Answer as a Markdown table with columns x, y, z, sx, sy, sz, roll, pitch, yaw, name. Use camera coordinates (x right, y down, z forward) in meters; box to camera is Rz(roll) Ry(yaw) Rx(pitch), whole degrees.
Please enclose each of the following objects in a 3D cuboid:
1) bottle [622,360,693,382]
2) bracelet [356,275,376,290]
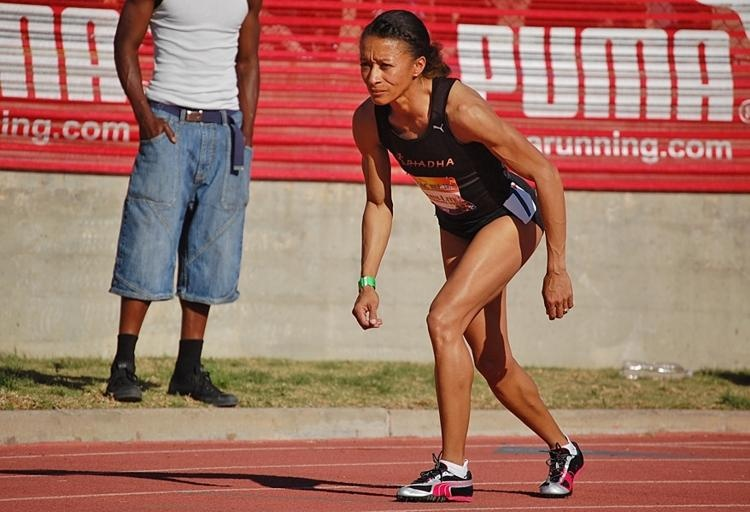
| x | y | z | sx | sy | sz | roll | pitch | yaw | name |
| --- | --- | --- | --- | --- | --- | --- | --- | --- | --- |
| 2.889 | 1.191 | 16.233 | 0.794 | 0.092 | 0.471 | 5 | 6 | -9 | bottle |
| -0.075 | 0.216 | 12.791 | 0.119 | 0.085 | 0.131 | 2 | -7 | 6 | bracelet |
